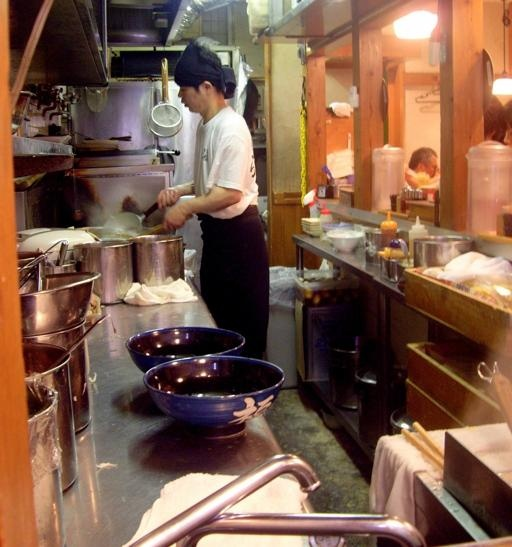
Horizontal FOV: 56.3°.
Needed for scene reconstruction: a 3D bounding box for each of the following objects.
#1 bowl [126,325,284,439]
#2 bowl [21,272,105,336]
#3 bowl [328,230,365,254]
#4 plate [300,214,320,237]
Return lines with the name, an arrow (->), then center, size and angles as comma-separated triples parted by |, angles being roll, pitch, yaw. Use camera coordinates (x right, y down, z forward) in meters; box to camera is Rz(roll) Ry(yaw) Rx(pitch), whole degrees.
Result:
bowl -> -0.126, 0.214, 1.048 | 0.274, 0.116, 0.525 | -12, 13, -17
bowl -> -0.332, 0.041, 0.842 | 0.150, 0.120, 0.170 | 2, 14, -5
bowl -> 0.554, -0.206, 2.975 | 0.216, 0.128, 0.176 | -6, 12, 9
plate -> 0.393, -0.387, 3.522 | 0.122, 0.101, 0.205 | -4, 12, -11
